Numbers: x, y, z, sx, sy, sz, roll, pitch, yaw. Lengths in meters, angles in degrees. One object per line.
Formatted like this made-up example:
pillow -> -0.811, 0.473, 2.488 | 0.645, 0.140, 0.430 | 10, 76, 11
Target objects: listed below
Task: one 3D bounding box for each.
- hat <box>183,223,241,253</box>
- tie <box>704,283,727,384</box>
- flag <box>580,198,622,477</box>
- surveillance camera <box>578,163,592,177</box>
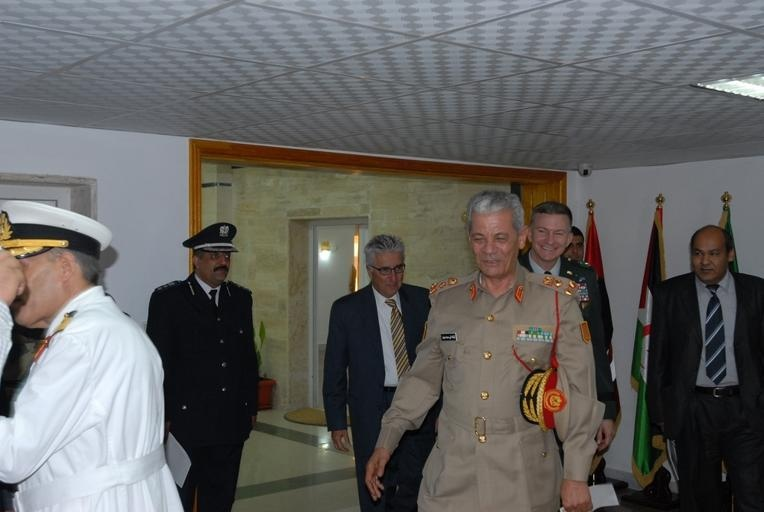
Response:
hat -> -1.300, -0.109, 4.217 | 0.277, 0.133, 0.289 | 10, -17, -41
tie -> 2.540, 0.596, 4.282 | 0.147, 0.729, 0.143 | 0, 0, 22
flag -> 2.264, 0.804, 6.050 | 0.619, 2.897, 0.584 | -4, -14, 31
surveillance camera -> 2.208, -0.933, 6.079 | 0.126, 0.108, 0.125 | 0, -3, 1
